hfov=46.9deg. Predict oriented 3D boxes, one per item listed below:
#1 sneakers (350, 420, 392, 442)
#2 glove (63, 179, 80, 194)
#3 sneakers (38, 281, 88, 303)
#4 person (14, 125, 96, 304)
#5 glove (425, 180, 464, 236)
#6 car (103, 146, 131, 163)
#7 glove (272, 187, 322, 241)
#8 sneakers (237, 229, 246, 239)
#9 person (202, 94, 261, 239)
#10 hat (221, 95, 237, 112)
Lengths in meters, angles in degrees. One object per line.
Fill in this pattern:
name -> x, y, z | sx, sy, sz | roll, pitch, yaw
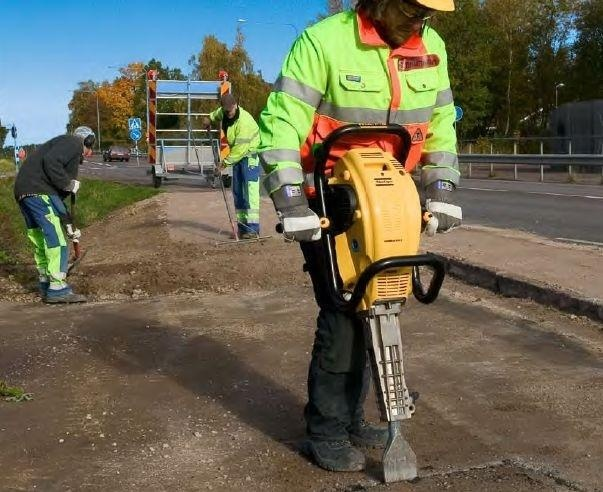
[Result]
sneakers -> 0.402, 1.101, 4.073 | 0.194, 0.089, 0.113 | -4, 22, 19
glove -> -2.514, -0.647, 7.571 | 0.115, 0.092, 0.268 | -2, 2, -11
sneakers -> -2.508, 0.495, 7.333 | 0.616, 0.296, 0.226 | 1, 1, -7
person -> -2.664, -0.353, 7.460 | 0.776, 1.779, 1.040 | -4, 12, -10
glove -> 0.752, -0.201, 3.879 | 0.221, 0.295, 0.133 | 6, -26, -16
car -> -14.163, -6.935, 52.828 | 1.800, 1.120, 2.403 | -4, 12, -14
glove -> -0.021, -0.157, 3.493 | 0.190, 0.309, 0.128 | -13, -11, -14
sneakers -> -0.903, -0.162, 10.373 | 0.089, 0.152, 0.076 | 1, -16, -1
person -> -0.935, -1.172, 10.294 | 0.591, 2.084, 0.784 | -3, 12, -6
hat -> -1.078, -2.104, 10.215 | 0.219, 0.240, 0.254 | -3, 12, -7
